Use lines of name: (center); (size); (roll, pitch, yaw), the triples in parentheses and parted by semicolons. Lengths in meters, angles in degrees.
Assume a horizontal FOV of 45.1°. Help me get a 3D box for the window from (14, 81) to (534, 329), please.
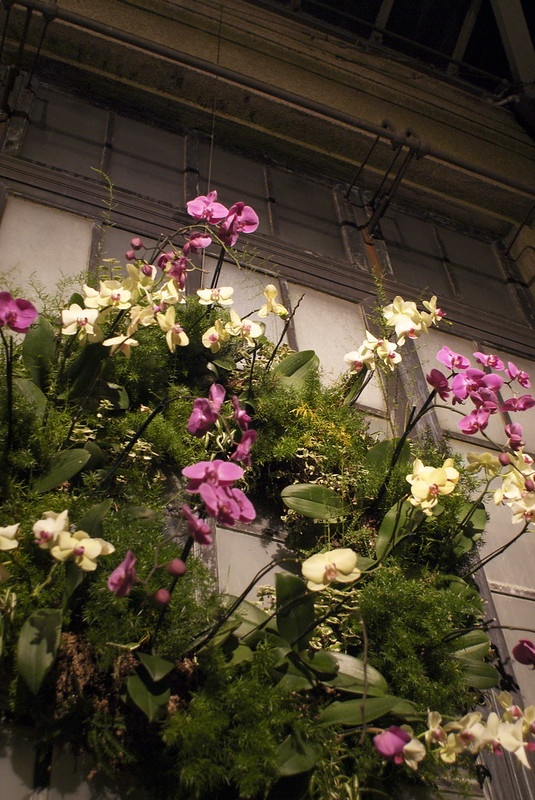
window: (0.078, -0.833, 2.874); (2.355, 0.626, 0.088); (13, -34, -17)
